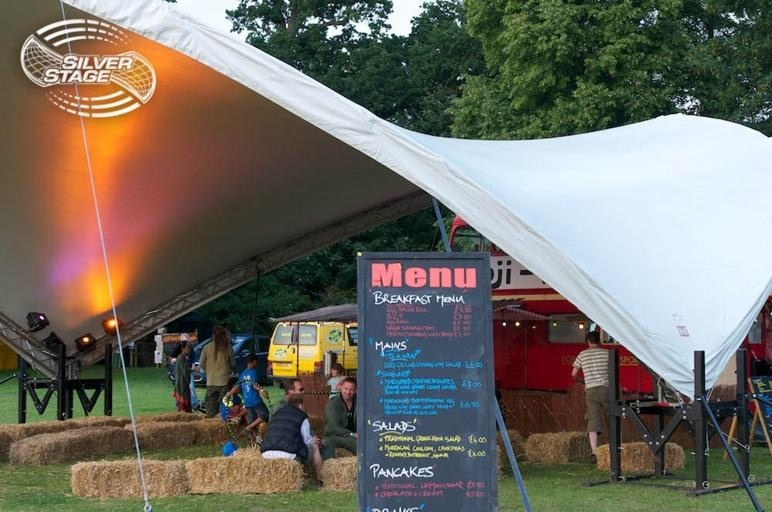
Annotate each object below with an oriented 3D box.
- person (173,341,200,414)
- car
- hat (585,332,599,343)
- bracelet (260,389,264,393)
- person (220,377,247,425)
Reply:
[{"bbox_3d":[-4.525,2.674,22.894,0.363,1.510,0.994,-1,-13,-12],"label":"person"},{"bbox_3d":[-4.153,2.681,26.212,1.796,1.541,3.084,-5,-11,33],"label":"car"},{"bbox_3d":[3.777,1.455,18.762,0.176,0.229,0.220,0,18,-2],"label":"hat"},{"bbox_3d":[-2.413,2.622,20.022,0.108,0.037,0.027,23,-8,-42],"label":"bracelet"},{"bbox_3d":[-3.009,2.878,20.440,0.377,0.934,0.645,6,-10,-40],"label":"person"}]
